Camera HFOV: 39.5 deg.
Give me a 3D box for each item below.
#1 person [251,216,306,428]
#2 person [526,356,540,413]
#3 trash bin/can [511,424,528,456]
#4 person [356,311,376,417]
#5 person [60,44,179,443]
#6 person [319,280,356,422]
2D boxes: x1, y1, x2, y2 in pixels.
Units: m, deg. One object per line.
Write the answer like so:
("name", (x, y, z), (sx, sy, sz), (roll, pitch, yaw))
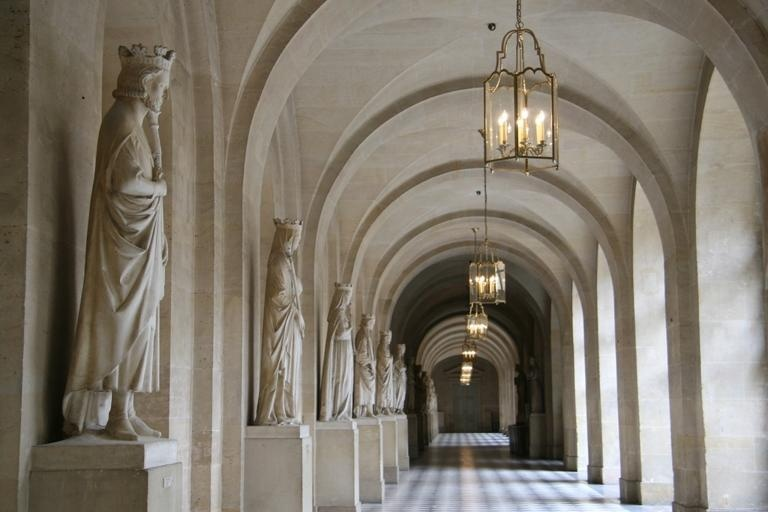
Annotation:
("person", (-1.401, 0.926, 14.946), (0.652, 2.890, 0.704), (4, -16, -18))
("person", (4.359, 3.770, 30.881), (0.359, 1.603, 0.505), (3, -16, -14))
("trash bin/can", (4.134, 5.616, 32.726), (0.731, 1.001, 0.726), (1, -3, -3))
("person", (-0.391, 2.220, 21.229), (0.398, 2.003, 0.850), (0, -15, -2))
("person", (-2.575, -0.170, 10.703), (0.865, 3.905, 0.957), (6, -17, -24))
("person", (-0.751, 1.653, 18.281), (0.615, 2.339, 0.687), (5, -16, -19))
